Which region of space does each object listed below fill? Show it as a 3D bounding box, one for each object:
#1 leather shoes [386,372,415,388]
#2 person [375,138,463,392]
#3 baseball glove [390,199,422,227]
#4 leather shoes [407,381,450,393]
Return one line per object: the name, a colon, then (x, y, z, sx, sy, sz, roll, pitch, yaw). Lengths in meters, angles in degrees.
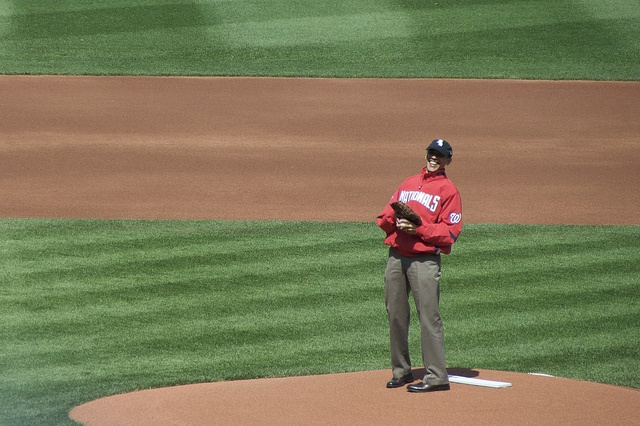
leather shoes: (1.177, 2.512, 15.587, 0.470, 0.186, 0.166, -2, 2, -31)
person: (1.506, 0.804, 15.505, 1.103, 3.704, 0.704, -1, -7, -4)
baseball glove: (1.240, 0.011, 15.258, 0.408, 0.134, 0.312, 27, -14, 44)
leather shoes: (1.585, 2.577, 15.383, 0.607, 0.171, 0.217, 2, -4, 2)
